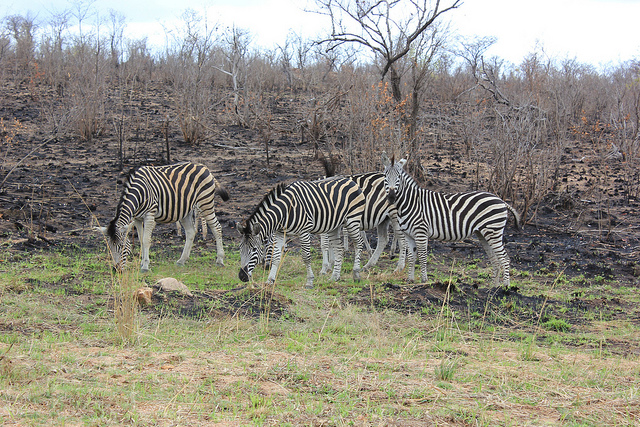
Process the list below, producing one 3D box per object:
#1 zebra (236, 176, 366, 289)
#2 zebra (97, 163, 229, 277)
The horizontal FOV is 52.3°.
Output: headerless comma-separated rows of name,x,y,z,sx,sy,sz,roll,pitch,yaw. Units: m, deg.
zebra,-0.384,0.474,14.638,3.520,2.314,0.940,-7,8,-39
zebra,-3.671,0.158,15.353,1.164,2.533,4.405,-1,7,26
